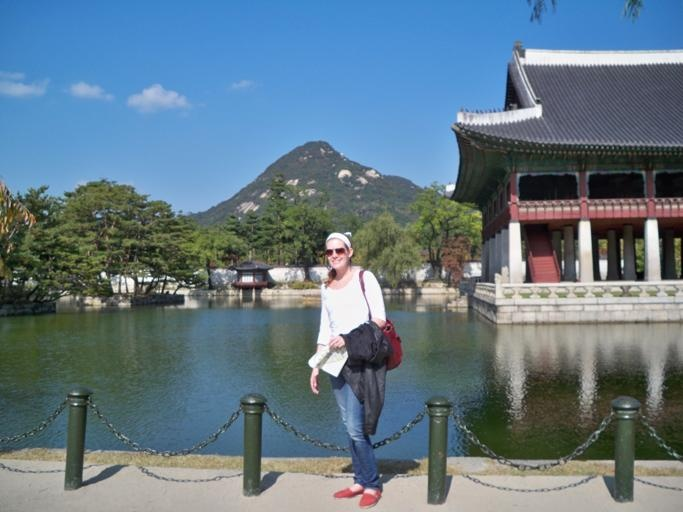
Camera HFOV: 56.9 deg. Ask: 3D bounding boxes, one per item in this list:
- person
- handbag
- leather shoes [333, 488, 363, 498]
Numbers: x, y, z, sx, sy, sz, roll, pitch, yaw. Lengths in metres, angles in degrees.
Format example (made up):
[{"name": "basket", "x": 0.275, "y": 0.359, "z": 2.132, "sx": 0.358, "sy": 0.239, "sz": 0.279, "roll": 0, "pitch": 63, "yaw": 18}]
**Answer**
[{"name": "person", "x": 0.127, "y": 1.619, "z": 9.257, "sx": 1.112, "sy": 4.012, "sz": 0.785, "roll": -1, "pitch": -2, "yaw": 11}, {"name": "handbag", "x": 0.705, "y": 0.978, "z": 9.493, "sx": 0.563, "sy": 1.557, "sz": 1.030, "roll": -2, "pitch": -2, "yaw": 25}, {"name": "leather shoes", "x": 0.104, "y": 3.475, "z": 9.317, "sx": 0.409, "sy": 0.125, "sz": 0.165, "roll": 2, "pitch": -12, "yaw": -7}]
